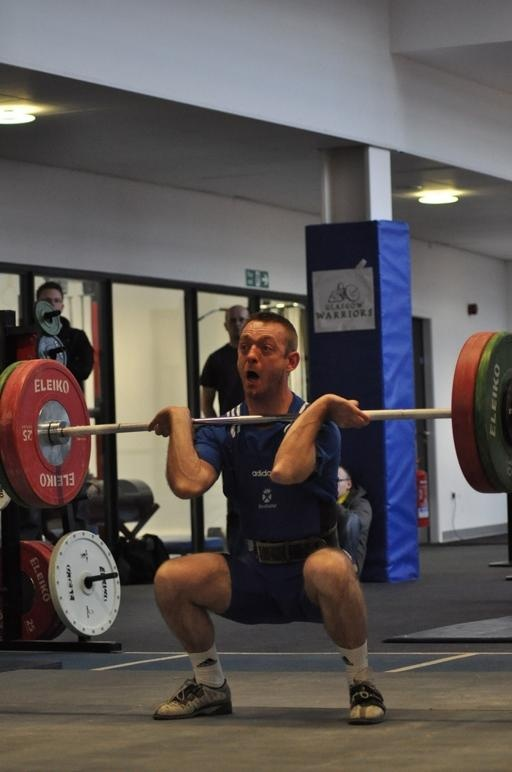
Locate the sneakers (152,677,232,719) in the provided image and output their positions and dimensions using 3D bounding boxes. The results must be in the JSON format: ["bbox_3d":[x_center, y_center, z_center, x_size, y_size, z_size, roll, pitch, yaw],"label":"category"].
[{"bbox_3d":[-0.151,0.754,2.217,0.194,0.069,0.081,-3,1,-14],"label":"sneakers"}]

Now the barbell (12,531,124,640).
[{"bbox_3d":[-0.836,0.835,3.914,0.444,0.489,0.370,0,4,20],"label":"barbell"}]

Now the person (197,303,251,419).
[{"bbox_3d":[-0.161,-0.105,6.959,0.553,1.014,0.278,-3,13,-25],"label":"person"}]
